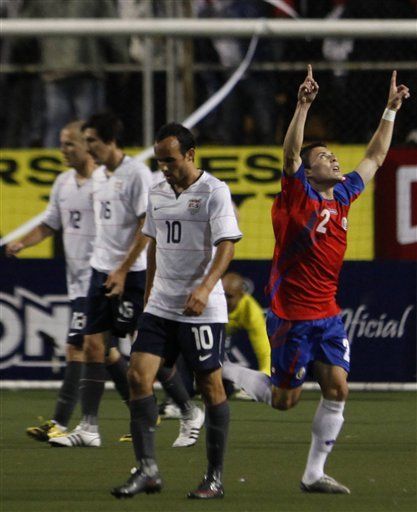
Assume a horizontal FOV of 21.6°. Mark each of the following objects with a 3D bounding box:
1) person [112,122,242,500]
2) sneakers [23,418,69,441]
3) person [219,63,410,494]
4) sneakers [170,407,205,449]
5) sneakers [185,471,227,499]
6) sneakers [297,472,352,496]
[{"bbox_3d":[-0.149,0.262,5.483,0.599,1.854,0.638,1,4,1],"label":"person"},{"bbox_3d":[-0.944,1.038,6.507,0.277,0.113,0.096,8,6,-25],"label":"sneakers"},{"bbox_3d":[0.575,0.096,5.743,0.691,2.178,0.715,0,4,-10],"label":"person"},{"bbox_3d":[-0.161,1.051,6.596,0.105,0.150,0.336,-21,17,35],"label":"sneakers"},{"bbox_3d":[-0.014,1.150,5.378,0.184,0.094,0.094,4,-10,-14],"label":"sneakers"},{"bbox_3d":[0.571,1.165,5.542,0.223,0.080,0.099,-1,-1,7],"label":"sneakers"}]
